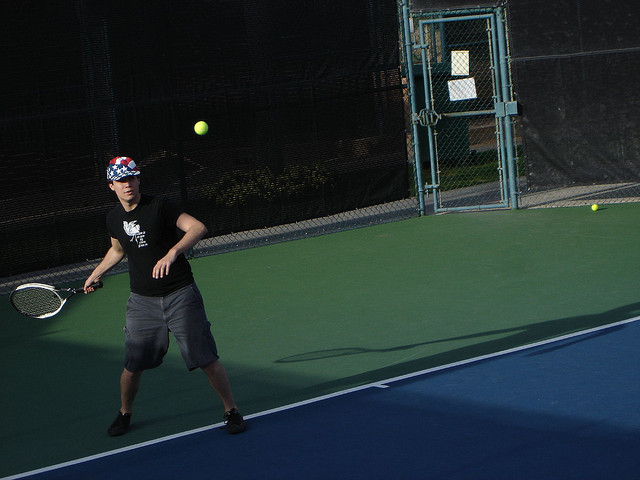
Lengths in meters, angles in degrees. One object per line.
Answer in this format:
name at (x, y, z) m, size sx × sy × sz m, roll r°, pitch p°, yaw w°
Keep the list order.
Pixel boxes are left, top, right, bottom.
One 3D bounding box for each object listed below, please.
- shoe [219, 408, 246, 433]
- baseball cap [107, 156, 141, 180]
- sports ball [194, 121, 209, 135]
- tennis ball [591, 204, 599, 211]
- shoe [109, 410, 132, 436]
shoe at (-0.600, 1.248, 4.315) m, size 0.125 × 0.150 × 0.187 m, roll -15°, pitch 16°, yaw -33°
baseball cap at (-1.371, -0.498, 4.331) m, size 0.200 × 0.139 × 0.203 m, roll -8°, pitch 13°, yaw -14°
sports ball at (-1.636, -1.553, 8.671) m, size 0.214 × 0.161 × 0.102 m, roll -5°, pitch -7°, yaw -14°
tennis ball at (4.326, -0.507, 9.799) m, size 0.077 × 0.082 × 0.069 m, roll -29°, pitch 58°, yaw -6°
shoe at (-1.436, 1.318, 4.497) m, size 0.168 × 0.140 × 0.100 m, roll -10°, pitch 14°, yaw -20°
